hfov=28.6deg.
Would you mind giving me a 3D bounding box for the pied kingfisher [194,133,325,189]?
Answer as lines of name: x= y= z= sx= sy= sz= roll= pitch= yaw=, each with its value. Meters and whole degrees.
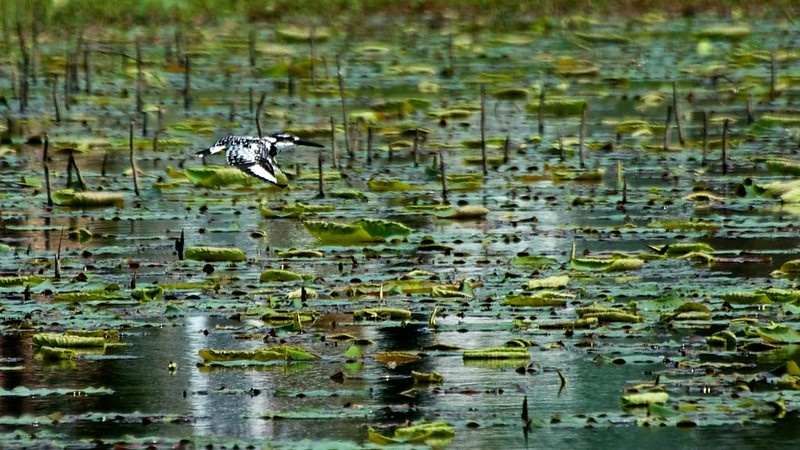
pied kingfisher: x=-2.597 y=-1.298 z=28.431 sx=1.856 sy=0.521 sz=1.240 roll=16 pitch=8 yaw=-11
